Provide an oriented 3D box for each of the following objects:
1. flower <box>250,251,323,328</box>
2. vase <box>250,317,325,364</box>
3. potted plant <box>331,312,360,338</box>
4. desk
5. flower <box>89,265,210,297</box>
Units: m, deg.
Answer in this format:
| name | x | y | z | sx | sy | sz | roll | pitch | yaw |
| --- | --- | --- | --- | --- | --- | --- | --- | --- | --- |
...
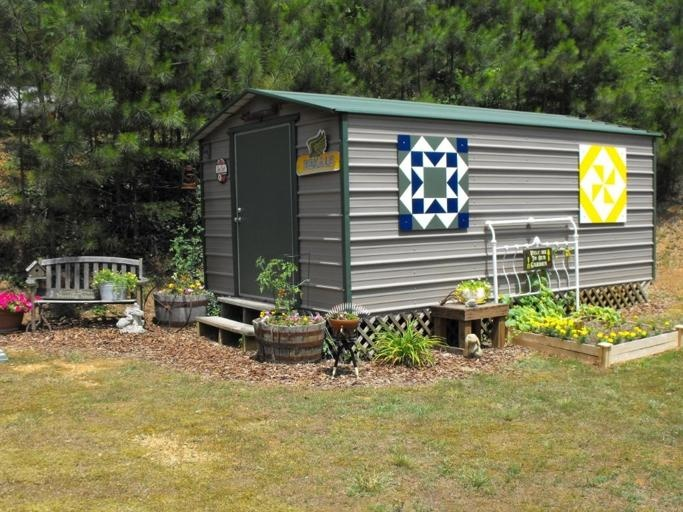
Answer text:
| name | x | y | z | sx | sy | sz | roll | pitch | yaw |
| --- | --- | --- | --- | --- | --- | --- | --- | --- | --- |
| flower | -0.918 | 0.463 | 9.561 | 0.986 | 1.057 | 0.983 | 0 | 1 | 41 |
| vase | -0.709 | 1.161 | 9.065 | 0.873 | 0.565 | 0.887 | -4 | 8 | -20 |
| potted plant | 0.039 | 0.888 | 8.471 | 0.314 | 0.211 | 0.322 | 1 | -2 | 23 |
| desk | 1.941 | 1.048 | 9.587 | 0.932 | 0.684 | 0.786 | -2 | 2 | -28 |
| flower | -3.500 | 0.439 | 11.304 | 1.243 | 0.498 | 0.879 | 4 | -5 | -31 |
